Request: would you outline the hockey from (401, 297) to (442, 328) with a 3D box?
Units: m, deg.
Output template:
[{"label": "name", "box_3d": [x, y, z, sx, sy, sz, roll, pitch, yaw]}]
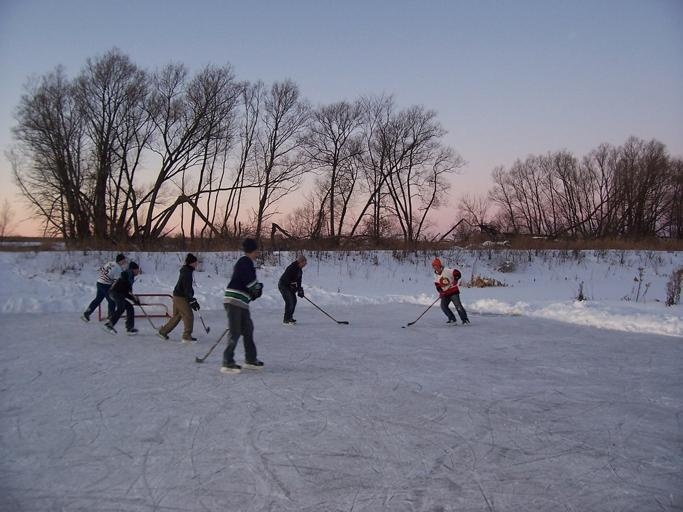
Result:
[{"label": "hockey", "box_3d": [2.259, 1.561, 17.478, 1.153, 0.177, 0.138, -26, 46, -13]}]

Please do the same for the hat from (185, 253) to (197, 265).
[{"label": "hat", "box_3d": [-2.929, 0.070, 12.484, 0.238, 0.266, 0.324, 2, 0, 0]}]

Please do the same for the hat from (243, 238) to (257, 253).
[{"label": "hat", "box_3d": [-1.516, -0.164, 10.698, 0.204, 0.253, 0.431, 2, 2, 6]}]

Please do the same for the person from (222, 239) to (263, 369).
[{"label": "person", "box_3d": [-1.642, 0.827, 10.861, 0.686, 2.251, 0.682, 2, 2, -10]}]

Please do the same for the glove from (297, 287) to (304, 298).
[{"label": "glove", "box_3d": [-0.888, 0.870, 15.018, 0.162, 0.228, 0.224, -1, 0, -10]}]

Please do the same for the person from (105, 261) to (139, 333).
[{"label": "person", "box_3d": [-4.829, 0.897, 14.154, 0.661, 1.564, 1.605, 1, 2, -19]}]

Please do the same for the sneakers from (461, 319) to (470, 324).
[{"label": "sneakers", "box_3d": [3.004, 1.568, 15.251, 0.104, 0.114, 0.170, 11, -17, -31]}]

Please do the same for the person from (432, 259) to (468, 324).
[{"label": "person", "box_3d": [2.860, 0.852, 16.328, 0.882, 1.531, 2.803, 3, 2, 11]}]

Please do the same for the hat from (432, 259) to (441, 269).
[{"label": "hat", "box_3d": [2.480, 0.204, 16.320, 0.245, 0.299, 0.346, -2, -19, 11]}]

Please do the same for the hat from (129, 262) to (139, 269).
[{"label": "hat", "box_3d": [-4.482, 0.220, 13.833, 0.166, 0.122, 0.173, -7, 7, -12]}]

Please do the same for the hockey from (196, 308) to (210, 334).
[{"label": "hockey", "box_3d": [-3.312, 1.579, 15.329, 0.125, 0.455, 0.441, -30, -8, -6]}]

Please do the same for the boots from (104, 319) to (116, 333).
[{"label": "boots", "box_3d": [-5.007, 1.506, 13.935, 0.234, 0.320, 0.588, 2, 2, -18]}]

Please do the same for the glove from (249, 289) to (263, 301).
[{"label": "glove", "box_3d": [-1.421, 0.599, 10.767, 0.182, 0.268, 0.254, 1, -20, -2]}]

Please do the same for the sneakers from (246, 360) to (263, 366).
[{"label": "sneakers", "box_3d": [-1.475, 1.841, 10.966, 0.264, 0.132, 0.120, 1, -1, -2]}]
